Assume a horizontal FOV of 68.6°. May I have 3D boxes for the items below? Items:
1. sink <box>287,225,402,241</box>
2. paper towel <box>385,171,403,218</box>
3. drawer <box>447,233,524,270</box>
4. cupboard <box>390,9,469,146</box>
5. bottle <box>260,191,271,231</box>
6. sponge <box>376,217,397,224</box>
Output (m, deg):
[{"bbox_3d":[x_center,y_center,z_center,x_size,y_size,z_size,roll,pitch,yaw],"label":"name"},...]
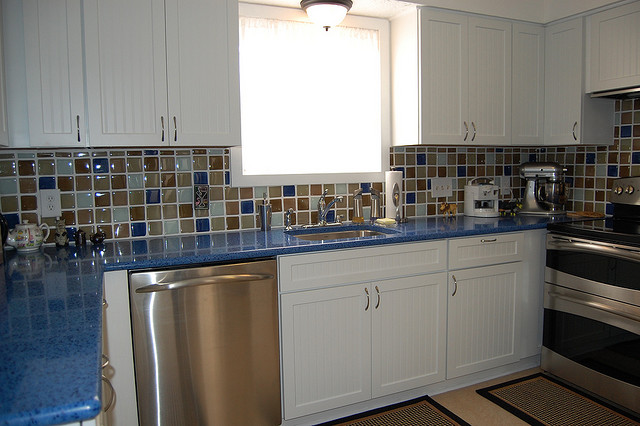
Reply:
[{"bbox_3d":[0.182,0.152,3.589,0.821,0.101,0.263,-3,7,7],"label":"sink"},{"bbox_3d":[0.613,-0.155,3.891,0.142,0.381,0.110,-3,7,4],"label":"paper towel"},{"bbox_3d":[1.198,0.256,3.566,0.509,0.261,0.389,1,9,-21],"label":"drawer"},{"bbox_3d":[0.885,-1.067,3.840,0.357,1.029,0.606,-2,11,-23],"label":"cupboard"},{"bbox_3d":[-0.418,-0.014,3.613,0.077,0.292,0.116,-3,7,6],"label":"bottle"},{"bbox_3d":[0.527,0.064,3.794,0.146,0.027,0.159,-7,7,-25],"label":"sponge"}]
